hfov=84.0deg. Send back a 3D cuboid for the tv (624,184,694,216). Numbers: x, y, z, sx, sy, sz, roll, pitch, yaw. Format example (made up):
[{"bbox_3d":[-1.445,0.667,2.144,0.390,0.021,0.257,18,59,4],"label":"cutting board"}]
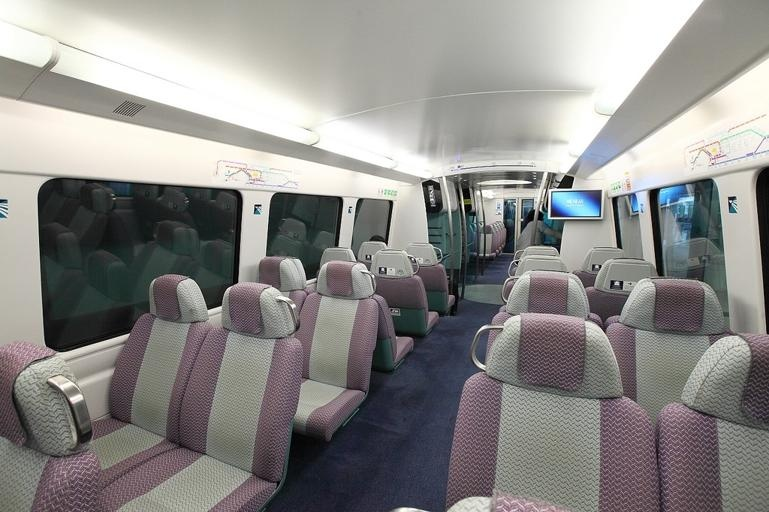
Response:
[{"bbox_3d":[3.258,-0.676,5.081,0.107,0.459,0.437,-37,26,-30],"label":"tv"}]
